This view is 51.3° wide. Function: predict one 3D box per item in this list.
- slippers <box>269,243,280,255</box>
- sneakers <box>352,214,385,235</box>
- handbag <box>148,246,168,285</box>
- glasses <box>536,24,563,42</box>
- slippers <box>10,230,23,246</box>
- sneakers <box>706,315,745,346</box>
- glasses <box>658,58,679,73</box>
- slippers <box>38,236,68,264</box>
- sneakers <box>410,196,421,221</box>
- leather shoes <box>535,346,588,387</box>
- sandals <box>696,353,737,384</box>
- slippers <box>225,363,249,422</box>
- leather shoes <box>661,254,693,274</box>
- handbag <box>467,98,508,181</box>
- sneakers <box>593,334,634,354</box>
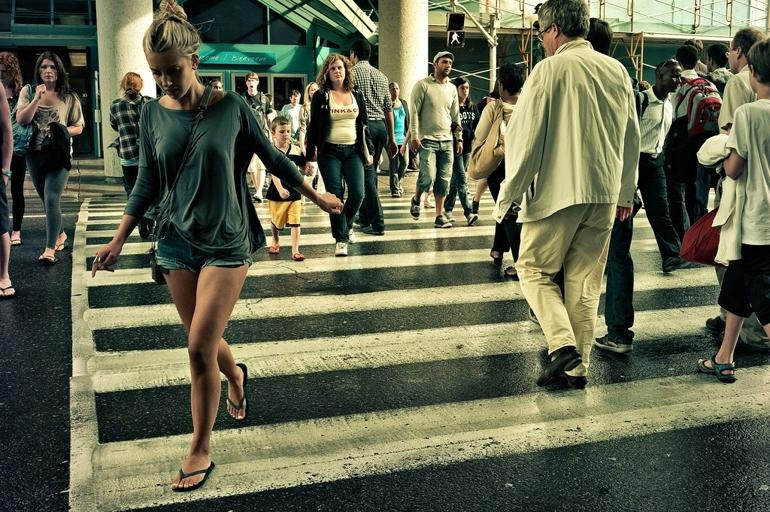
[{"bbox_3d":[-1.535,-0.101,11.180,0.147,0.114,0.289,-1,3,-9],"label":"slippers"},{"bbox_3d":[-0.230,-0.482,12.753,0.240,0.294,0.692,-7,25,-27],"label":"sneakers"},{"bbox_3d":[-1.669,0.069,5.888,0.083,0.259,0.220,-6,13,-28],"label":"handbag"},{"bbox_3d":[1.441,-1.913,6.942,0.178,0.055,0.185,-5,50,-25],"label":"glasses"},{"bbox_3d":[-5.308,-0.259,11.563,0.140,0.174,0.430,-1,0,-24],"label":"slippers"},{"bbox_3d":[3.315,0.713,7.883,0.130,0.173,0.389,-12,24,-5],"label":"sneakers"},{"bbox_3d":[3.385,-2.243,9.430,0.186,0.226,0.253,-5,11,-6],"label":"glasses"},{"bbox_3d":[-4.433,-0.083,10.683,0.184,0.143,0.682,-8,16,-8],"label":"slippers"},{"bbox_3d":[0.550,-0.815,13.869,0.137,0.414,0.162,-3,-4,-9],"label":"sneakers"},{"bbox_3d":[1.513,0.993,6.875,0.225,0.276,0.561,3,-30,-9],"label":"leather shoes"},{"bbox_3d":[2.916,0.980,7.042,0.160,0.169,0.357,-4,15,-10],"label":"sandals"},{"bbox_3d":[-1.127,1.044,6.329,0.182,0.488,0.119,1,12,25],"label":"slippers"},{"bbox_3d":[3.534,0.094,9.684,0.376,0.262,0.122,-24,27,-24],"label":"leather shoes"},{"bbox_3d":[1.149,-1.271,8.938,0.311,0.774,0.446,11,8,-35],"label":"handbag"},{"bbox_3d":[2.159,0.795,7.587,0.143,0.171,0.367,-5,14,-33],"label":"sneakers"}]
